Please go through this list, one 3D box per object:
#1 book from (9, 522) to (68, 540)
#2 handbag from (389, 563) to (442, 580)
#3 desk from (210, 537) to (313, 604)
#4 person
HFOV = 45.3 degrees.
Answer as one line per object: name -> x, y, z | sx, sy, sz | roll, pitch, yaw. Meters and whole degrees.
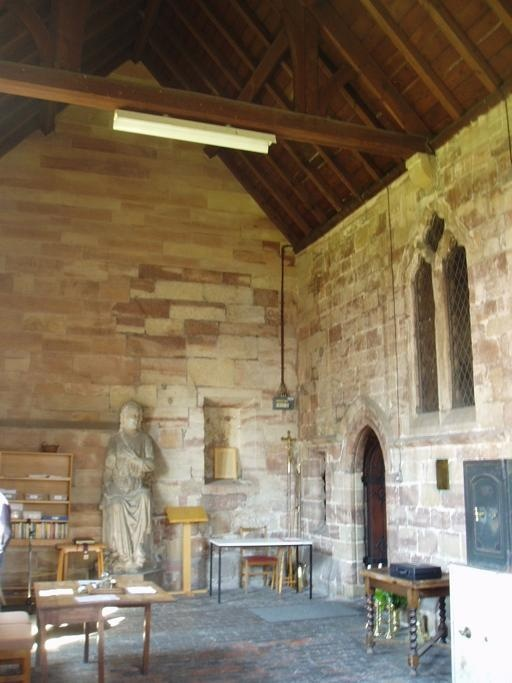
book -> -2.429, 2.112, 6.910 | 0.635, 0.221, 0.237 | 3, -9, -22
handbag -> 1.184, 1.709, 4.593 | 0.324, 0.093, 0.459 | 6, -14, -21
desk -> 0.010, 2.755, 7.585 | 1.262, 0.666, 1.643 | 1, -13, -1
person -> -1.574, 1.746, 7.498 | 0.587, 2.012, 0.357 | 4, -13, -17
